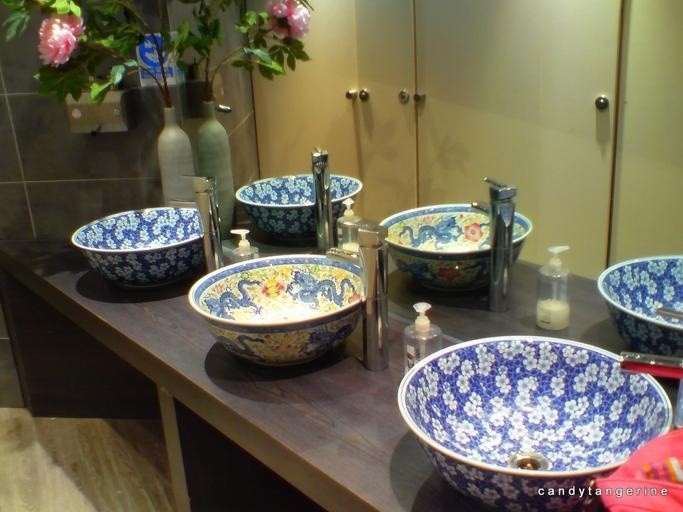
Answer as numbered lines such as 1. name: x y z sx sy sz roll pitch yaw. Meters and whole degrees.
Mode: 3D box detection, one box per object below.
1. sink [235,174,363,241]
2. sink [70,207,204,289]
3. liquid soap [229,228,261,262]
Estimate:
1. sink: -0.167 -0.156 1.689 0.239 0.089 0.233 -11 20 -23
2. sink: -0.596 -0.041 1.665 0.317 0.123 0.324 15 29 32
3. liquid soap: -0.285 -0.031 1.637 0.064 0.118 0.062 22 35 35
